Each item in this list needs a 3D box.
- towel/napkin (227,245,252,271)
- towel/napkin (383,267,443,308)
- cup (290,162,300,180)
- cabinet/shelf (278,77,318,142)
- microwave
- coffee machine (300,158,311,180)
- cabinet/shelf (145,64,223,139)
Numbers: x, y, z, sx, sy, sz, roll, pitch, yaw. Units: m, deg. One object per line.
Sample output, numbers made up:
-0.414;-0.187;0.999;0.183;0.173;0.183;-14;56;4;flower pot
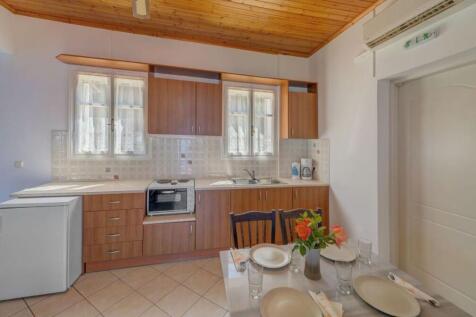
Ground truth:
0.016;1.140;3.610;0.199;0.080;0.264;2;18;-19;towel/napkin
1.815;1.371;3.364;0.177;0.143;0.599;-6;16;-41;towel/napkin
1.035;0.220;5.705;0.153;0.274;0.088;-3;4;11;cup
1.067;-0.851;5.608;0.655;1.041;0.318;-5;4;-9;cabinet/shelf
-1.067;0.534;5.042;0.723;0.483;0.471;1;-3;-13;microwave
1.204;0.190;5.607;0.219;0.368;0.139;-3;4;10;coffee machine
-0.920;-0.918;5.133;1.303;1.177;0.484;1;-1;-14;cabinet/shelf
